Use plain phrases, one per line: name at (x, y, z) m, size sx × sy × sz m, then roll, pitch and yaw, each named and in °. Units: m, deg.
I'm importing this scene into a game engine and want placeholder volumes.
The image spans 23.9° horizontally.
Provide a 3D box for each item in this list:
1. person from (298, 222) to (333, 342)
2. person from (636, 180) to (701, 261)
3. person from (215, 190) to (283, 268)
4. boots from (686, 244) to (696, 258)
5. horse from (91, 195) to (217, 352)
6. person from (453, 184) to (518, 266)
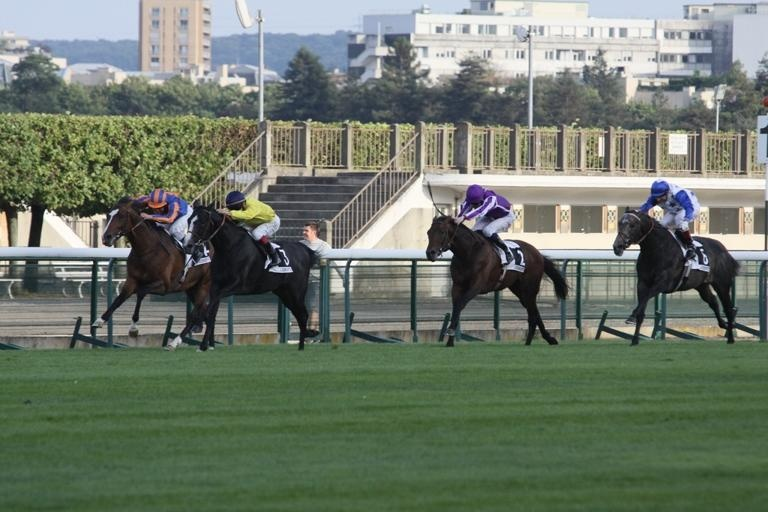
person at (-1.635, 0.516, 41.742) m, size 0.920 × 2.403 × 0.844 m, roll 3°, pitch -2°, yaw 33°
person at (6.334, -0.847, 40.645) m, size 1.594 × 1.644 × 0.998 m, roll -2°, pitch 8°, yaw -10°
person at (-2.937, -0.624, 40.505) m, size 1.548 × 1.570 × 1.007 m, roll -1°, pitch 3°, yaw -37°
boots at (6.847, -0.114, 40.494) m, size 0.299 × 0.251 × 0.598 m, roll 0°, pitch 3°, yaw 7°
horse at (-5.405, 0.288, 40.325) m, size 1.016 × 2.915 × 3.376 m, roll 1°, pitch 1°, yaw 35°
person at (2.222, -0.778, 40.630) m, size 1.624 × 1.514 × 1.154 m, roll 0°, pitch 16°, yaw -25°
